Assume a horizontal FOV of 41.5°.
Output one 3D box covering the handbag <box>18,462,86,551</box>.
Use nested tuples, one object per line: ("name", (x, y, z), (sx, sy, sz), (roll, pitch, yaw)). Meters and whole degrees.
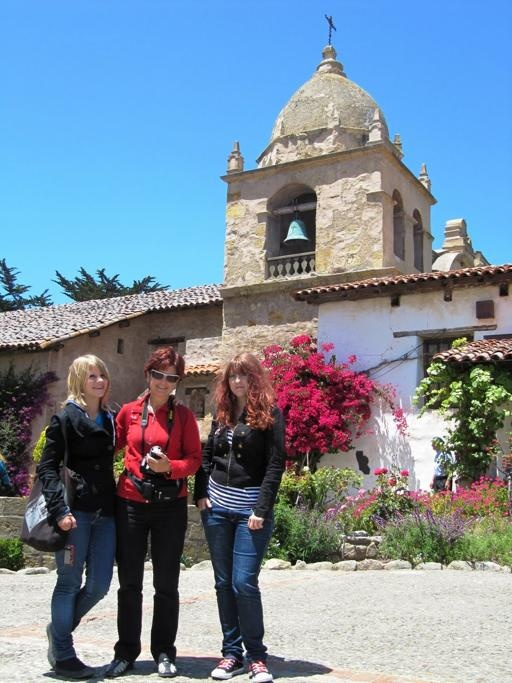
("handbag", (-0.996, 0.793, 3.190), (0.340, 0.398, 0.176), (-3, -8, 33))

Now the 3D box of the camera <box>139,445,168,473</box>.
("camera", (-0.489, 0.583, 3.261), (0.143, 0.119, 0.128), (4, 14, -7))

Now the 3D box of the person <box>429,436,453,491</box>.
("person", (3.236, 2.170, 11.756), (0.366, 0.900, 1.155), (0, -6, 15))

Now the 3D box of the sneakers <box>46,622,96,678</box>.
("sneakers", (-0.834, 1.464, 3.132), (0.286, 0.245, 0.119), (0, -13, -3))

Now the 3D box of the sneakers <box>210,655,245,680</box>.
("sneakers", (-0.143, 1.546, 3.153), (0.063, 0.062, 0.181), (-6, -21, 21))

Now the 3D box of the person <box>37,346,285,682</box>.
("person", (-0.311, 0.808, 3.379), (0.898, 1.580, 0.573), (1, -6, 2))
